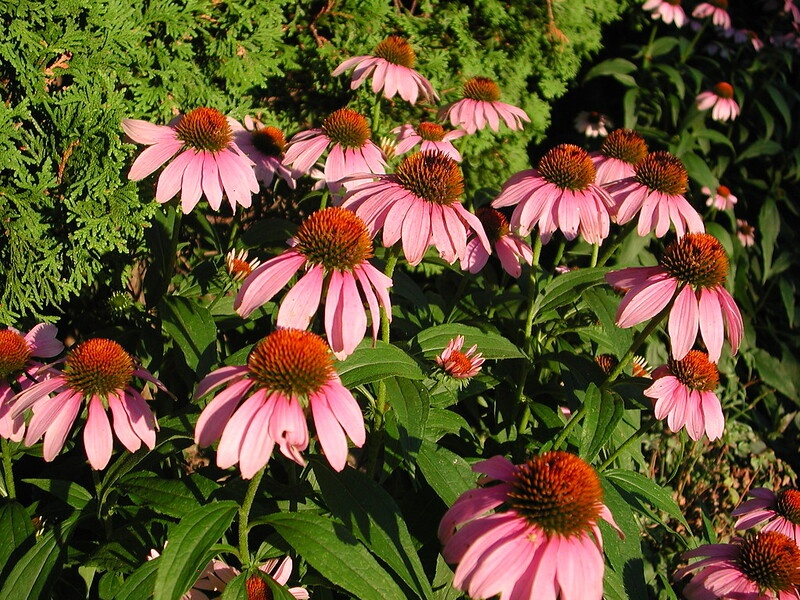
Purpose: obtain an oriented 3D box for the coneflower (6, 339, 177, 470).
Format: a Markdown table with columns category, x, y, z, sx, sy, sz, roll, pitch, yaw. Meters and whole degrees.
| category | x | y | z | sx | sy | sz | roll | pitch | yaw |
| --- | --- | --- | --- | --- | --- | --- | --- | --- | --- |
| coneflower | -1.560 | 0.587 | 3.919 | 0.588 | 0.359 | 0.731 | 16 | 49 | -6 |
